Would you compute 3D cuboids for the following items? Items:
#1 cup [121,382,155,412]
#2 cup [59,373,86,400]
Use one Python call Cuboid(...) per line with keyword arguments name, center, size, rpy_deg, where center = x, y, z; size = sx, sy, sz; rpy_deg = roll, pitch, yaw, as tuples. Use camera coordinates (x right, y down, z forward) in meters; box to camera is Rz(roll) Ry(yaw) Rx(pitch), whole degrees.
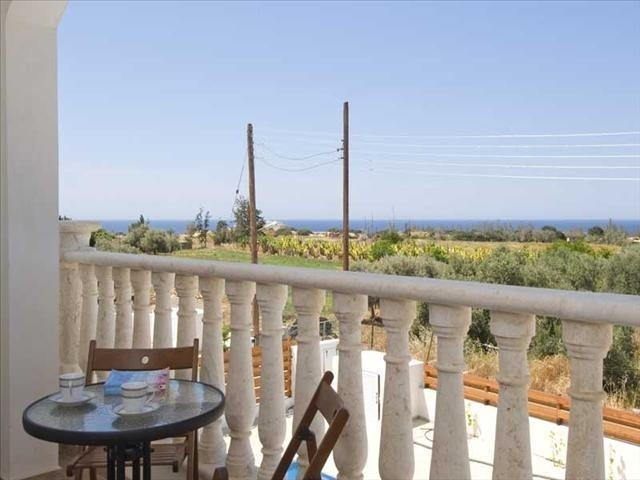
Cuboid(name="cup", center=(-0.922, 0.795, 3.428), size=(0.156, 0.136, 0.124), rpy_deg=(6, -10, -39))
Cuboid(name="cup", center=(-1.327, 0.780, 3.634), size=(0.107, 0.115, 0.144), rpy_deg=(1, 8, -15))
